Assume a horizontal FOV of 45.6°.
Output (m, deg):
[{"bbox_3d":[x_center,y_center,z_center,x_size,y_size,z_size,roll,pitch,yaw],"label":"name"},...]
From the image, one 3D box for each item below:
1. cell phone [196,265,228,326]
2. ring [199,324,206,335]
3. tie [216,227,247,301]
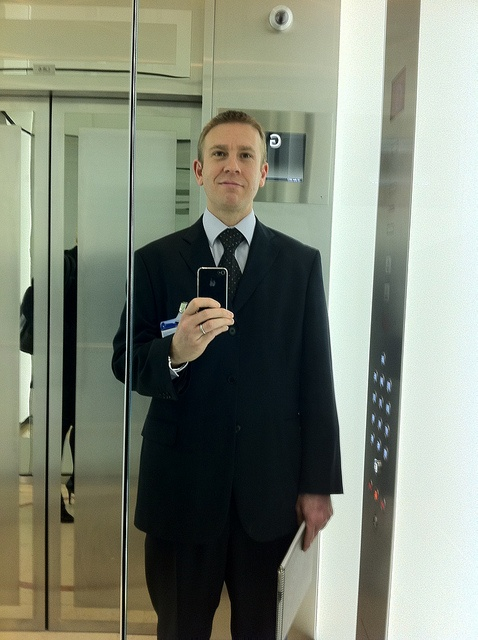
[{"bbox_3d":[-0.054,-0.057,1.159,0.059,0.141,0.014,-4,46,-8],"label":"cell phone"},{"bbox_3d":[-0.071,0.019,1.102,0.005,0.018,0.013,-17,27,-18],"label":"ring"},{"bbox_3d":[-0.018,-0.103,1.193,0.050,0.197,0.015,8,34,13],"label":"tie"}]
